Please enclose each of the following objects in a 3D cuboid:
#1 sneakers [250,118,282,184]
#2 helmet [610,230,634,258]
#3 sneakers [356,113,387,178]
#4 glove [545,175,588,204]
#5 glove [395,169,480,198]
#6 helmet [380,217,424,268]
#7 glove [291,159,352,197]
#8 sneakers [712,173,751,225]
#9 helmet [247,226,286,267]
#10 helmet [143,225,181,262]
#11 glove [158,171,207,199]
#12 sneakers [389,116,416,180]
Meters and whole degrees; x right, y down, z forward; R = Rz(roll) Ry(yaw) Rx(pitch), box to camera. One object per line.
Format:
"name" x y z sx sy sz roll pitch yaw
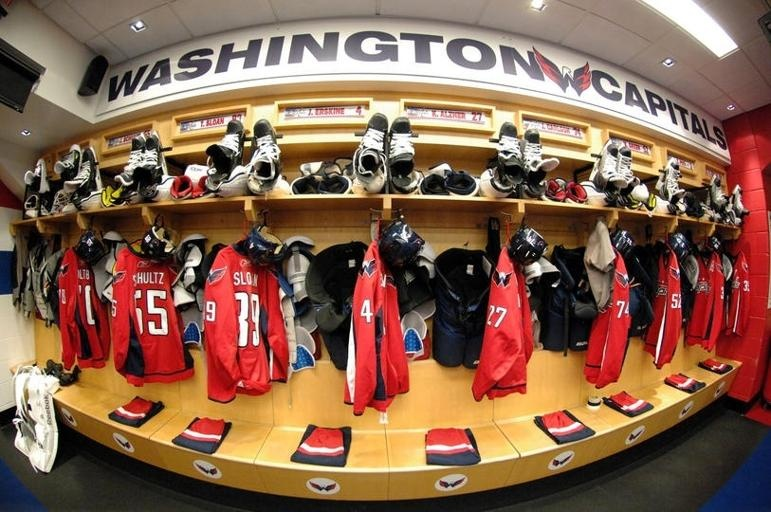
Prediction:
"sneakers" -1.092 -0.937 4.339 0.237 0.652 0.258 0 -2 -3
"helmet" 2.334 -0.118 4.697 0.198 0.256 0.272 16 -12 33
"sneakers" -0.118 -0.978 4.335 0.243 0.632 0.251 9 -1 0
"glove" 1.754 -0.629 4.621 0.266 0.127 0.364 2 24 7
"glove" 0.501 -0.709 4.467 0.903 0.294 0.348 -2 14 -5
"helmet" 0.142 -0.110 4.308 0.418 0.452 0.184 0 -1 1
"glove" -0.618 -0.757 4.494 0.566 0.366 0.406 0 0 -8
"sneakers" 3.976 -0.643 5.380 0.181 0.566 0.249 14 -17 -23
"helmet" -1.124 -0.090 4.463 0.372 0.335 0.288 25 -2 -13
"helmet" -2.185 -0.132 4.507 0.303 0.359 0.190 0 -1 -29
"glove" -1.910 -0.663 4.431 0.382 0.194 0.172 -3 28 -9
"sneakers" 0.139 -0.991 4.289 0.209 0.575 0.248 0 6 -1
